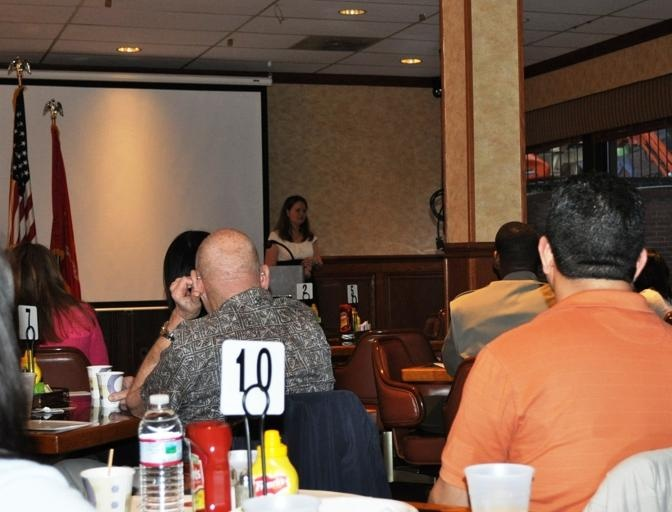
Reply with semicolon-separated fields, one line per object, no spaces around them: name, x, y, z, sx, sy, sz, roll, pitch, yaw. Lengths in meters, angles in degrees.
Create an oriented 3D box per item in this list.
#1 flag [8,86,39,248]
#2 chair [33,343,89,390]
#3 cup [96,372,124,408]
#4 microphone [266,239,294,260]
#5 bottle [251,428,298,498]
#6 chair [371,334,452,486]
flag;-2.748;-0.790;6.051;0.209;0.996;0.415;-3;-1;-25
chair;-1.204;0.498;3.080;0.233;0.231;0.212;0;-4;-10
cup;-0.829;0.493;2.553;0.104;0.129;0.111;1;-7;0
microphone;-0.600;-0.104;7.234;0.212;0.227;0.052;29;51;25
bottle;-0.130;0.442;1.475;0.086;0.119;0.139;-4;-2;-20
chair;0.401;0.755;3.522;0.495;0.667;0.518;3;7;13
